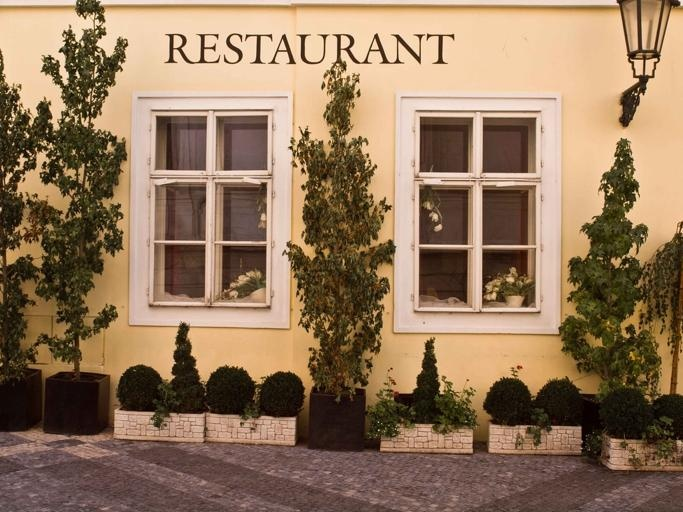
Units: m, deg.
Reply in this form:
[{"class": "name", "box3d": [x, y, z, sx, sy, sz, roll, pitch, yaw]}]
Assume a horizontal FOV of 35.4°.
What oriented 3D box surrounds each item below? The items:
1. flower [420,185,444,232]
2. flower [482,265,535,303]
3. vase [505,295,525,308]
[{"class": "flower", "box3d": [1.088, -0.544, 12.939, 0.290, 0.540, 0.090, 4, -8, -28]}, {"class": "flower", "box3d": [2.006, 0.394, 12.932, 0.454, 0.445, 0.434, 0, -1, -26]}, {"class": "vase", "box3d": [2.083, 0.576, 12.893, 0.146, 0.116, 0.158, 3, -3, -11]}]
